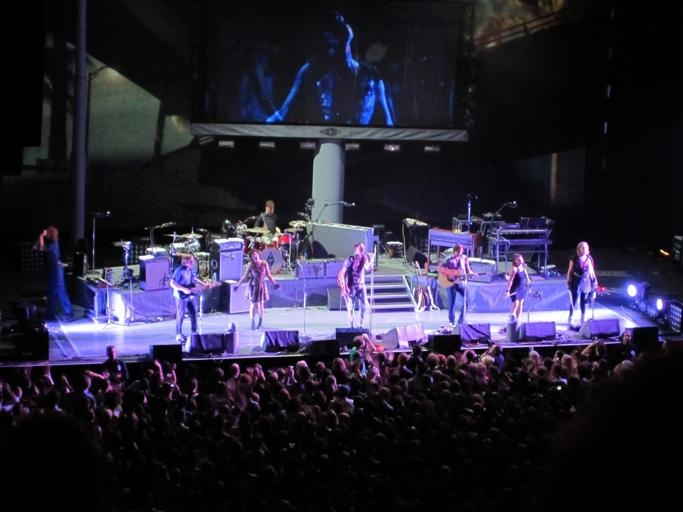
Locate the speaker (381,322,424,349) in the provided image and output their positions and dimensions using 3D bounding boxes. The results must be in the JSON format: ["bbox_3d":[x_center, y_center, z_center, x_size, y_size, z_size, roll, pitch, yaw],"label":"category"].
[{"bbox_3d":[1.084,1.397,12.442,0.470,0.327,0.452,-2,9,-27],"label":"speaker"}]

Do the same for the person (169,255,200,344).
[{"bbox_3d":[-2.847,0.758,13.090,0.469,1.563,0.826,1,2,-12],"label":"person"}]

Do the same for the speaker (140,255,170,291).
[{"bbox_3d":[-3.754,0.361,14.405,0.593,0.758,0.398,-2,12,-34],"label":"speaker"}]

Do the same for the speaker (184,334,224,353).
[{"bbox_3d":[-2.240,1.445,11.867,0.404,0.220,0.403,1,-1,-28],"label":"speaker"}]

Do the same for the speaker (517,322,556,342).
[{"bbox_3d":[3.460,1.346,12.853,0.408,0.220,0.414,-1,-1,1],"label":"speaker"}]

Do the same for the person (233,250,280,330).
[{"bbox_3d":[-1.676,0.636,14.229,0.748,1.532,1.678,1,2,-8],"label":"person"}]

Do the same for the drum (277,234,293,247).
[{"bbox_3d":[-1.291,-0.363,16.525,0.214,0.282,0.378,5,7,37],"label":"drum"}]

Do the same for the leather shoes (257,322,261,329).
[{"bbox_3d":[-1.594,1.362,13.977,0.080,0.115,0.030,6,8,-20],"label":"leather shoes"}]

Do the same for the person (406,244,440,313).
[{"bbox_3d":[1.908,0.522,16.628,0.661,1.336,2.434,2,2,5],"label":"person"}]

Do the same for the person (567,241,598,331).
[{"bbox_3d":[4.672,0.578,13.943,0.547,1.672,1.225,2,2,18],"label":"person"}]

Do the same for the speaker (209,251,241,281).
[{"bbox_3d":[-2.457,0.169,15.373,0.764,0.764,0.544,-4,9,-45],"label":"speaker"}]

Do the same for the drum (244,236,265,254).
[{"bbox_3d":[-1.923,-0.256,15.788,0.440,0.404,0.445,1,-2,-4],"label":"drum"}]

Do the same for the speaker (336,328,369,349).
[{"bbox_3d":[0.136,1.351,12.017,0.360,0.235,0.367,0,4,6],"label":"speaker"}]
